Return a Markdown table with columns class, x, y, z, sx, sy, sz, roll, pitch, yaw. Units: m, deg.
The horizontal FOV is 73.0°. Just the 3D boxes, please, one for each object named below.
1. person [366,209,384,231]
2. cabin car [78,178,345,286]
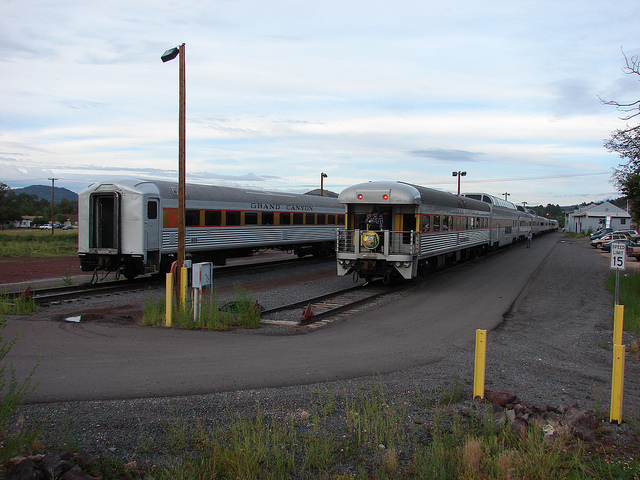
| class | x | y | z | sx | sy | sz | roll | pitch | yaw |
| --- | --- | --- | --- | --- | --- | --- | --- | --- | --- |
| person | 2.179 | -0.811 | 17.138 | 0.600 | 0.708 | 0.296 | 3 | -2 | 8 |
| cabin car | -3.609 | -0.805 | 25.565 | 3.126 | 3.829 | 20.225 | -2 | 1 | 28 |
